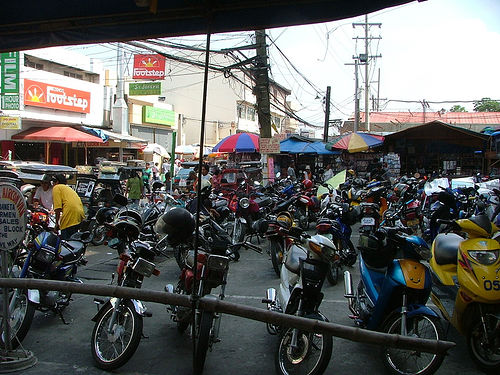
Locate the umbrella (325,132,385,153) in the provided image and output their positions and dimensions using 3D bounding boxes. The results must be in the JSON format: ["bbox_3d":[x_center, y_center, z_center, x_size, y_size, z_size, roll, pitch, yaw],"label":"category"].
[{"bbox_3d":[5.062,-2.246,20.554,2.464,1.013,1.693,0,3,4],"label":"umbrella"}]

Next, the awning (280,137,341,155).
[{"bbox_3d":[3.117,-2.294,23.610,1.741,0.560,1.725,1,0,-18],"label":"awning"}]

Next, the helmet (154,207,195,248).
[{"bbox_3d":[-0.750,0.334,4.228,0.425,0.356,0.306,5,-7,8],"label":"helmet"}]

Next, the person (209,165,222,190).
[{"bbox_3d":[-1.418,-0.396,16.965,0.648,0.651,1.134,1,14,5],"label":"person"}]

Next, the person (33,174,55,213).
[{"bbox_3d":[-4.693,0.081,9.666,0.400,0.805,0.950,-1,4,-26],"label":"person"}]

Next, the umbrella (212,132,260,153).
[{"bbox_3d":[-0.591,-2.296,21.321,2.153,1.007,1.613,2,4,25],"label":"umbrella"}]

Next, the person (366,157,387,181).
[{"bbox_3d":[5.276,-0.764,17.335,0.855,0.955,1.640,0,0,2],"label":"person"}]

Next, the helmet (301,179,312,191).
[{"bbox_3d":[1.736,-0.101,13.251,0.252,0.336,0.327,10,3,-38],"label":"helmet"}]

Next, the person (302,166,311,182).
[{"bbox_3d":[3.034,-0.789,22.550,0.571,0.761,1.313,-1,-3,4],"label":"person"}]

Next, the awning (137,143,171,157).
[{"bbox_3d":[-8.282,-3.225,36.107,1.882,0.615,1.661,2,2,12],"label":"awning"}]

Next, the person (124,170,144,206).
[{"bbox_3d":[-3.836,0.070,14.145,0.597,1.383,0.381,1,23,-17],"label":"person"}]

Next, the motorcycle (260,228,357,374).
[{"bbox_3d":[0.600,1.232,4.783,0.860,1.491,2.868,1,3,5],"label":"motorcycle"}]
